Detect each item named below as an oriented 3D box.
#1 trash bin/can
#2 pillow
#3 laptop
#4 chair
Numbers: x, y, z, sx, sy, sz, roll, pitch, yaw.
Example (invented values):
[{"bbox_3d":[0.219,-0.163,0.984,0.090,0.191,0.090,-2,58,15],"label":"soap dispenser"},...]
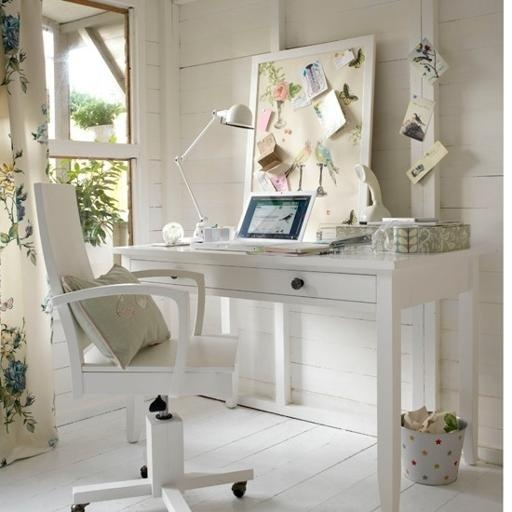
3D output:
[{"bbox_3d":[0.702,0.764,1.944,0.206,0.204,0.248,-1,-3,2],"label":"trash bin/can"},{"bbox_3d":[-0.472,0.206,1.726,0.205,0.307,0.436,-3,4,9],"label":"pillow"},{"bbox_3d":[0.016,-0.166,2.145,0.355,0.253,0.325,2,-1,45],"label":"laptop"},{"bbox_3d":[-0.407,0.305,2.286,0.905,1.761,0.981,0,1,3],"label":"chair"}]
